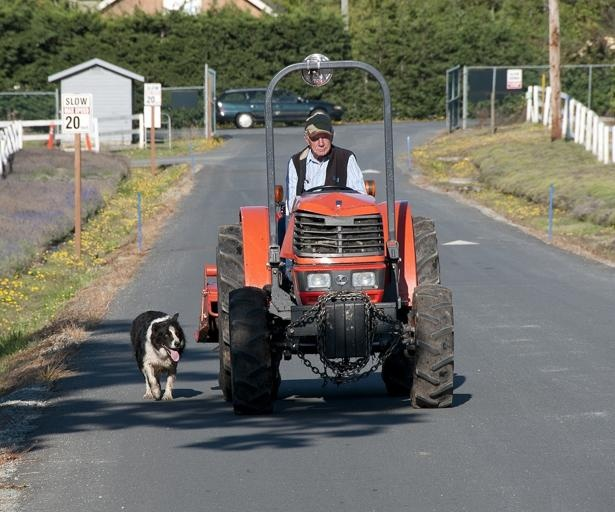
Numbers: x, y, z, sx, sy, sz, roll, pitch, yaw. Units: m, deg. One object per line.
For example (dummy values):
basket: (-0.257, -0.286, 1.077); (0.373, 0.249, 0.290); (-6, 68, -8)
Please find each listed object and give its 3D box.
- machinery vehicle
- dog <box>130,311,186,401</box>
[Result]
machinery vehicle: (0.337, -0.109, 10.934); (2.377, 3.902, 3.993); (-2, -2, -4)
dog: (-1.631, 1.130, 10.713); (0.406, 0.966, 0.893); (-4, 8, -28)
